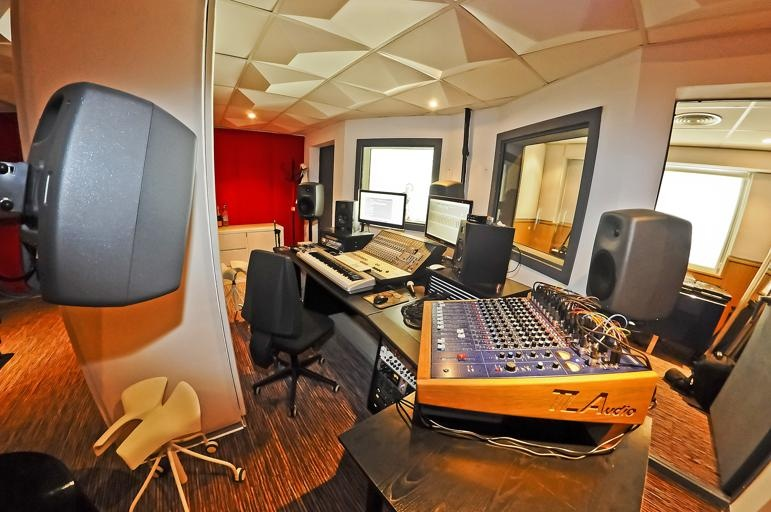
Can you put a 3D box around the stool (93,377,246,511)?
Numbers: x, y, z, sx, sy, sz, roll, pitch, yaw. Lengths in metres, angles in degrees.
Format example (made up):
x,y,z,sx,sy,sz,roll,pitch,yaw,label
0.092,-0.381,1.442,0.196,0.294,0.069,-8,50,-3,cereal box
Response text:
x,y,z,sx,sy,sz,roll,pitch,yaw,label
-1.552,1.343,3.149,0.613,0.720,0.691,13,27,28,stool

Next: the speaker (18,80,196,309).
x,y,z,sx,sy,sz,roll,pitch,yaw,label
-1.463,-0.321,2.371,0.776,1.117,0.332,1,13,-15,speaker

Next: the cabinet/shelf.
x,y,z,sx,sy,sz,roll,pitch,yaw,label
-1.616,-0.036,5.204,0.833,0.610,0.286,-5,14,-23,cabinet/shelf

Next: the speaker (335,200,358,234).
x,y,z,sx,sy,sz,roll,pitch,yaw,label
-0.427,-0.412,4.767,0.285,0.392,0.213,9,16,27,speaker

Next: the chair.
x,y,z,sx,sy,sz,roll,pitch,yaw,label
-0.826,0.705,3.864,0.773,1.279,0.823,20,33,24,chair

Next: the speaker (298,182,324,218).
x,y,z,sx,sy,sz,roll,pitch,yaw,label
-0.890,-0.656,5.246,0.299,0.432,0.239,17,23,29,speaker
